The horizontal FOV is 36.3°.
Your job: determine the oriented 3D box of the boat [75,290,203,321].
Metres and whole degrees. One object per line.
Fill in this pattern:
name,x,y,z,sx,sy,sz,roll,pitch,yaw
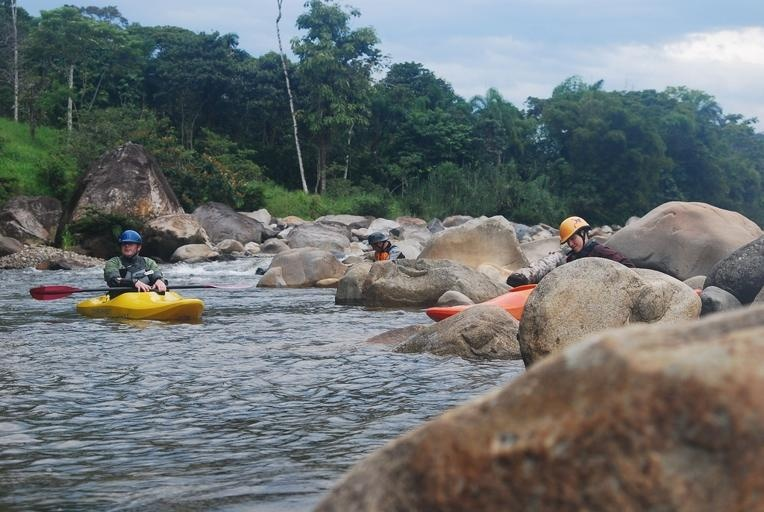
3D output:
boat,-7.788,1.706,38.459,3.084,0.555,1.509,1,-2,18

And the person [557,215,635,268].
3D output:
person,6.584,-0.500,37.508,1.139,1.410,2.369,-2,11,-28

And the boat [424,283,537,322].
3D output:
boat,3.035,1.857,37.312,4.368,0.744,1.212,-13,5,-13
